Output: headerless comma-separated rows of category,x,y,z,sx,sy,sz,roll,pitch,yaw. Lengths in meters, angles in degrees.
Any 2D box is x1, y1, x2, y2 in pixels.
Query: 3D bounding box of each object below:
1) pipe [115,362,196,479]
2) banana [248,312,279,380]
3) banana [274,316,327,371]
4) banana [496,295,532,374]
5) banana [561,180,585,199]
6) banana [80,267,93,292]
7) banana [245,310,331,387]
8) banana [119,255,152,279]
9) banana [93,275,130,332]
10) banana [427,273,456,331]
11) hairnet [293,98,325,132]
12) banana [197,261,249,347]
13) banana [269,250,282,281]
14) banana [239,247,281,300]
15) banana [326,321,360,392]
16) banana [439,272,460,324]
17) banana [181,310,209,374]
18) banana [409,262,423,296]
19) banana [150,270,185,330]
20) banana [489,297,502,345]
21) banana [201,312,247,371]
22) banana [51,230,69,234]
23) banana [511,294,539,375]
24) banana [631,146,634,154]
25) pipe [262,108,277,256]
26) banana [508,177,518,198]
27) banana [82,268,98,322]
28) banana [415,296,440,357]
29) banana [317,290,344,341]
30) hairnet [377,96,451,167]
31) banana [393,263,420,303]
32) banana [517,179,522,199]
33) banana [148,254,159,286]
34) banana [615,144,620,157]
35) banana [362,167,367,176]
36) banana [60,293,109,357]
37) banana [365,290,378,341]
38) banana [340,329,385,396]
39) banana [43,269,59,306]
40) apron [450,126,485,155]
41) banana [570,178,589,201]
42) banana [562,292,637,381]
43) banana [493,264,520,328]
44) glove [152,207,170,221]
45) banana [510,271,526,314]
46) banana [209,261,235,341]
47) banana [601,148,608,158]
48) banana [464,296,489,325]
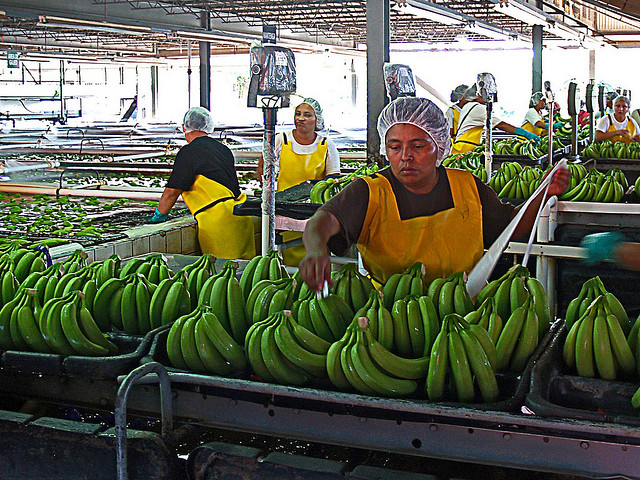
pipe,-0.429,0.439,1.293,0.086,0.267,0.244,5,10,25
banana,-0.146,0.305,1.412,0.036,0.145,0.106,0,6,5
banana,-0.055,0.293,1.374,0.141,0.140,0.064,4,9,19
banana,0.554,0.266,1.484,0.048,0.078,0.223,20,55,45
banana,2.229,-0.433,4.377,0.115,0.072,0.311,-30,7,24
banana,-0.870,0.141,1.859,0.023,0.080,0.022,30,-21,-20
banana,-0.104,0.318,1.444,0.231,0.155,0.178,19,18,-18
banana,-0.777,0.113,2.115,0.044,0.073,0.179,-8,23,23
banana,-0.738,0.230,1.764,0.040,0.160,0.119,8,1,12
banana,0.385,0.190,1.620,0.087,0.216,0.053,35,-48,-23
hairnet,-0.059,-1.350,5.320,0.156,0.325,0.587,3,10,10
banana,-0.310,0.200,1.667,0.143,0.314,0.117,-13,-17,21
banana,-0.160,0.098,1.811,0.046,0.087,0.209,0,10,-5
banana,-0.207,0.133,1.887,0.109,0.102,0.197,6,35,23
banana,0.074,0.305,1.351,0.067,0.221,0.085,16,29,25
banana,0.415,0.180,1.606,0.042,0.169,0.068,-20,-54,43
banana,-0.356,0.301,1.456,0.081,0.240,0.041,0,-2,-32
banana,0.331,0.131,1.694,0.042,0.093,0.099,4,9,17
banana,-0.551,0.210,1.787,0.077,0.191,0.051,27,-14,-25
banana,0.519,0.237,1.505,0.030,0.127,0.044,3,-29,-5
banana,-0.287,0.306,1.486,0.043,0.159,0.052,-31,-6,-38
banana,-1.948,-0.066,3.758,0.120,0.025,0.090,2,10,5
banana,0.609,0.290,1.465,0.057,0.276,0.094,12,-34,14
banana,4.186,-1.236,6.695,0.023,0.076,0.065,3,9,13
pipe,-0.298,-0.360,2.955,0.075,0.845,0.154,0,8,-5
banana,1.747,-0.474,4.516,0.042,0.202,0.049,9,-9,17
banana,-0.833,0.196,1.813,0.044,0.199,0.068,-14,-16,27
banana,0.321,0.240,1.461,0.048,0.129,0.119,-10,23,20
banana,0.032,0.241,1.517,0.040,0.191,0.046,-23,8,18
hairnet,0.430,-0.506,2.296,0.340,0.320,0.293,4,9,13
banana,0.296,0.150,1.672,0.033,0.055,0.140,1,33,30
banana,1.786,-0.467,4.488,0.035,0.166,0.040,-4,-4,9
banana,-0.648,0.121,1.972,0.036,0.105,0.027,33,-44,-31
banana,4.051,-1.239,6.809,0.043,0.203,0.069,9,-36,23
banana,0.442,-0.700,5.029,0.067,0.084,0.069,1,-11,10
banana,-0.740,0.270,1.556,0.139,0.179,0.075,5,9,25
banana,0.145,0.229,1.435,0.039,0.107,0.027,16,-32,-24
banana,0.118,0.296,1.341,0.115,0.040,0.141,5,40,-3
banana,-0.962,0.173,1.787,0.024,0.111,0.039,15,-24,1
apron,2.163,-1.484,7.302,0.459,0.398,0.479,2,9,5
banana,2.323,-0.452,4.472,0.046,0.234,0.089,20,0,13
banana,0.865,0.290,1.534,0.153,0.169,0.281,17,47,25
banana,0.618,0.185,1.697,0.073,0.219,0.048,32,-25,-26
glove,-1.381,-0.238,4.364,0.070,0.115,0.117,32,27,18
banana,0.644,0.172,1.630,0.036,0.056,0.164,-13,38,22
banana,-0.326,0.201,1.635,0.084,0.248,0.057,10,-12,-28
banana,3.876,-1.212,6.830,0.048,0.204,0.075,18,-7,22
banana,0.479,0.212,1.520,0.050,0.037,0.144,22,27,23
